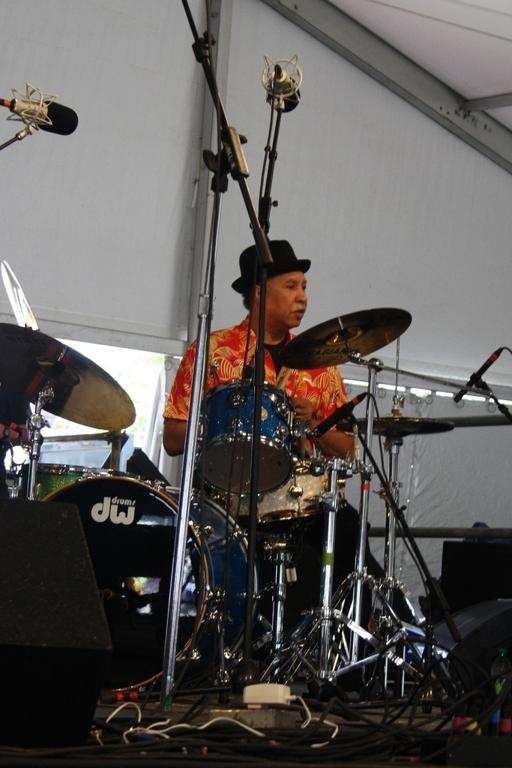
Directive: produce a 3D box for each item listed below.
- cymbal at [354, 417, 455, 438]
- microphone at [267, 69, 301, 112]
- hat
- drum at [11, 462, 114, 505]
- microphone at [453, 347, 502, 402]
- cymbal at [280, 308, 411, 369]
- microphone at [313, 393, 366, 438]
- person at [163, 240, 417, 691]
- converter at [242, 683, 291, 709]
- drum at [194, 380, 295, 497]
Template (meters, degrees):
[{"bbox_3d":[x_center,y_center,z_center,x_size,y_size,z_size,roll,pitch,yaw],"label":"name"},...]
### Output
[{"bbox_3d":[0.501,0.152,2.984,0.240,0.077,0.326,5,1,19],"label":"cymbal"},{"bbox_3d":[0.064,-0.733,2.254,0.079,0.109,0.169,5,1,0],"label":"microphone"},{"bbox_3d":[0.035,-0.440,3.237,0.330,0.143,0.368,-15,7,1],"label":"hat"},{"bbox_3d":[-0.550,0.257,2.438,0.153,0.141,0.152,6,-9,-3],"label":"drum"},{"bbox_3d":[0.861,-0.038,3.524,0.156,0.207,0.364,5,1,12],"label":"microphone"},{"bbox_3d":[0.270,-0.126,2.691,0.365,0.076,0.362,2,31,38],"label":"cymbal"},{"bbox_3d":[0.256,0.102,2.876,0.198,0.046,0.053,-33,36,-13],"label":"microphone"},{"bbox_3d":[0.029,0.164,2.875,0.845,1.244,0.764,-4,-14,43],"label":"person"},{"bbox_3d":[0.017,0.558,1.612,0.077,0.025,0.041,-1,-13,3],"label":"converter"},{"bbox_3d":[-0.032,0.133,2.280,0.218,0.207,0.201,20,37,-15],"label":"drum"}]
